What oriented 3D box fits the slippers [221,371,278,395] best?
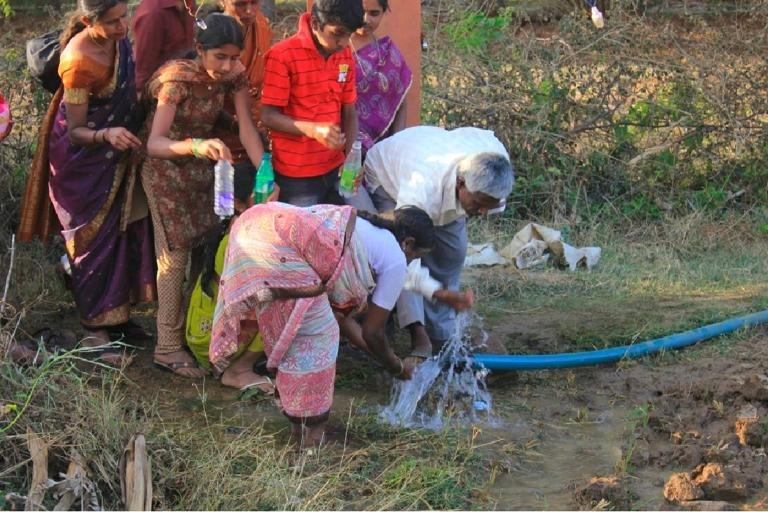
[{"bbox_3d":[-1.100,1.088,8.766,0.484,0.222,0.166,-13,-12,11],"label":"slippers"}]

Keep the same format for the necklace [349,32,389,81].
[{"bbox_3d":[-0.127,-1.771,9.313,0.311,0.406,0.180,-13,13,-26],"label":"necklace"}]

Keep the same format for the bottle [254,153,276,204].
[{"bbox_3d":[-0.991,-0.639,8.635,0.154,0.522,0.158,10,42,-9],"label":"bottle"}]

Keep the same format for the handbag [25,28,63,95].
[{"bbox_3d":[-2.799,-1.629,8.722,0.469,0.527,0.272,15,18,34],"label":"handbag"}]

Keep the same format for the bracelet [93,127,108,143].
[{"bbox_3d":[-2.326,-1.008,8.559,0.120,0.103,0.091,-9,3,-9],"label":"bracelet"}]

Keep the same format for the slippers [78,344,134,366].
[{"bbox_3d":[-2.331,0.789,8.881,0.489,0.117,0.263,7,16,27],"label":"slippers"}]

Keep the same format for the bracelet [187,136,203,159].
[{"bbox_3d":[-1.515,-0.879,8.440,0.116,0.133,0.052,2,-1,0],"label":"bracelet"}]

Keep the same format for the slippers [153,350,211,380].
[{"bbox_3d":[-1.738,0.905,8.937,0.546,0.227,0.196,6,7,13],"label":"slippers"}]

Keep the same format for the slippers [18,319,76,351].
[{"bbox_3d":[-2.864,0.713,8.971,0.281,0.142,0.385,8,-2,31],"label":"slippers"}]

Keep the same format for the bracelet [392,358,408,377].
[{"bbox_3d":[0.135,0.913,8.526,0.068,0.150,0.115,-3,46,6],"label":"bracelet"}]
